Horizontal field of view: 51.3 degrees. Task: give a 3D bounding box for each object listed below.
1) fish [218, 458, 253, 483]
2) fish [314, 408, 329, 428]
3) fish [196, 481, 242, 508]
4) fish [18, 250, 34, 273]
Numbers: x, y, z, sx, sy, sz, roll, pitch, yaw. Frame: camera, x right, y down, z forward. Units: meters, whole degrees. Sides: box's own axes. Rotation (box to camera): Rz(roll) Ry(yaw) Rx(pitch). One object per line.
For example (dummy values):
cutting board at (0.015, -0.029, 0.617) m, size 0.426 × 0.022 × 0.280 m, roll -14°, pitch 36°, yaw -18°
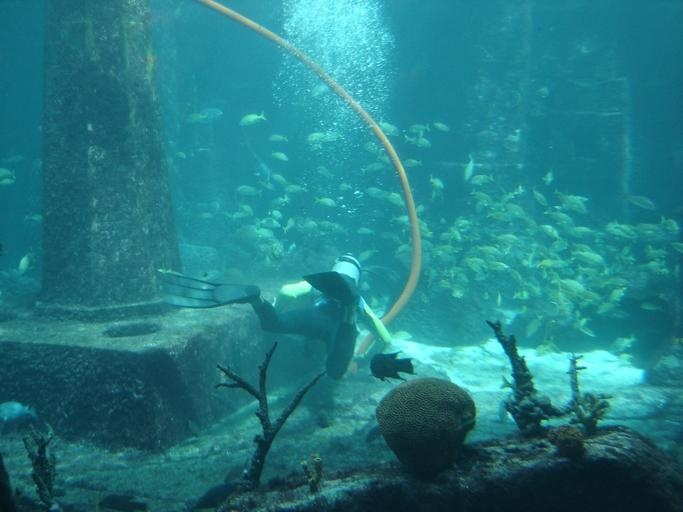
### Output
fish at (-2.367, 4.946, 16.429) m, size 0.651 × 0.404 × 0.374 m, roll -12°, pitch -14°, yaw 27°
fish at (-0.461, 3.993, 17.606) m, size 0.353 × 0.454 × 0.501 m, roll -6°, pitch -12°, yaw -3°
fish at (-2.808, 5.403, 16.110) m, size 0.725 × 0.202 × 0.696 m, roll -27°, pitch 3°, yaw -28°
fish at (-10.048, 0.164, 22.663) m, size 0.287 × 0.741 × 0.348 m, roll 22°, pitch 8°, yaw 28°
